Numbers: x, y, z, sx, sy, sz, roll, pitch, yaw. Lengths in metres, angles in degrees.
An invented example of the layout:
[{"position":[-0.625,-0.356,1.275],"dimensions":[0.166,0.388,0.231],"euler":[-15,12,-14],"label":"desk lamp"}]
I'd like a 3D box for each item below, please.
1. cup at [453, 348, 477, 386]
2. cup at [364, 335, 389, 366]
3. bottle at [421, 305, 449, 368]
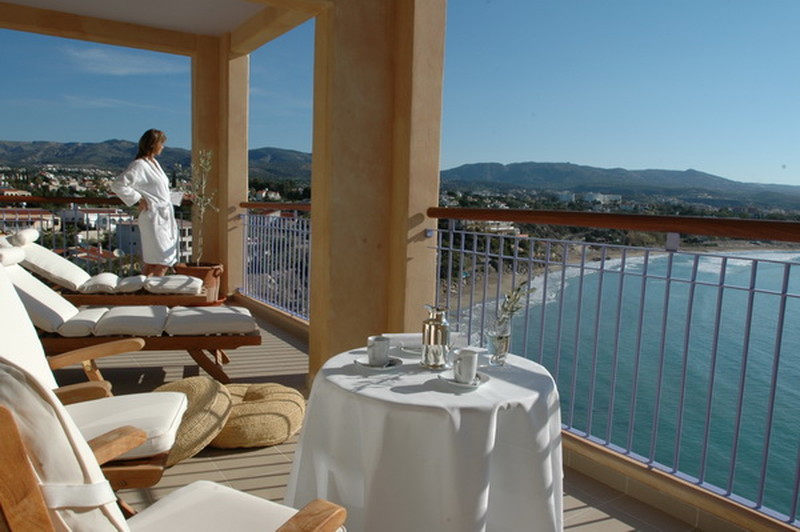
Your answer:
[{"position":[0.252,0.398,1.989],"dimensions":[0.083,0.127,0.136],"euler":[0,5,-4],"label":"cup"},{"position":[-0.093,0.357,2.126],"dimensions":[0.073,0.096,0.122],"euler":[6,13,26],"label":"cup"},{"position":[0.146,0.304,2.161],"dimensions":[0.119,0.260,0.114],"euler":[3,5,0],"label":"bottle"}]
